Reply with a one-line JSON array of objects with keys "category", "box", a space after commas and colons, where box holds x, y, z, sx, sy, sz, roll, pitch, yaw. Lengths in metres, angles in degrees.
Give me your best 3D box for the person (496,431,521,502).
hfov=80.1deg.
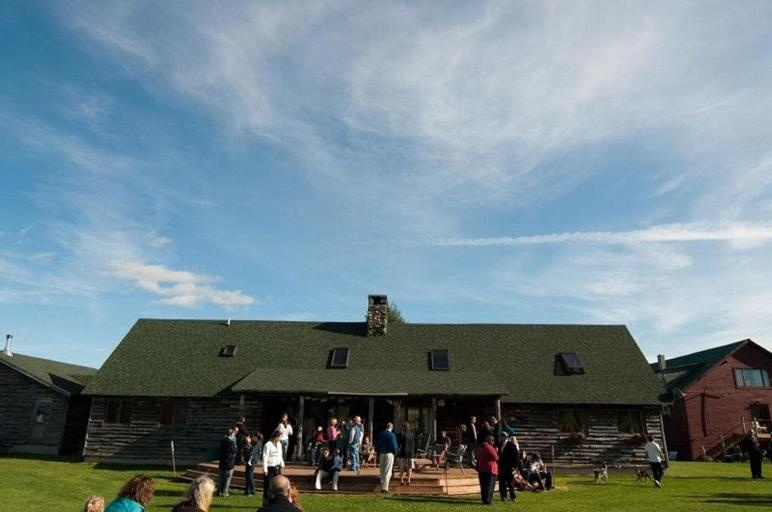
[{"category": "person", "box": [4.697, 8.099, 17.749, 0.807, 2.363, 1.478, -6, -30, 10]}]
